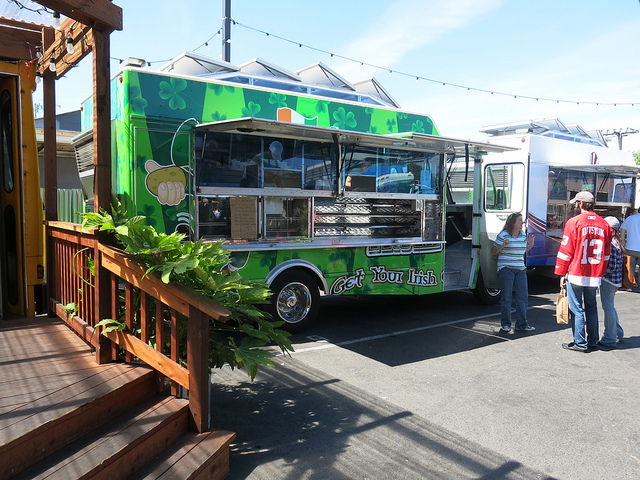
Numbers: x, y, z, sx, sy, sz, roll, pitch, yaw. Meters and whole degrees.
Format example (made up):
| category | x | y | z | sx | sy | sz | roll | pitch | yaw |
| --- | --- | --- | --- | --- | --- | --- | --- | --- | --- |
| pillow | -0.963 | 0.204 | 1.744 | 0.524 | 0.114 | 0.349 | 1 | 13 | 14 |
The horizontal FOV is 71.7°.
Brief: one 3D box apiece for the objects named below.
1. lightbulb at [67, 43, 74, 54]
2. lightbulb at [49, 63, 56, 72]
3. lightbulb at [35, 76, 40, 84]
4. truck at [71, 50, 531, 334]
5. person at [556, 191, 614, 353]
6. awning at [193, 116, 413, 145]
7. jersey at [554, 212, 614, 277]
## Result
| category | x | y | z | sx | sy | sz | roll | pitch | yaw |
| --- | --- | --- | --- | --- | --- | --- | --- | --- | --- |
| lightbulb | -2.517 | -1.952 | 4.473 | 0.056 | 0.098 | 0.072 | -3 | 7 | -10 |
| lightbulb | -3.123 | -2.042 | 5.162 | 0.055 | 0.084 | 0.077 | -2 | 19 | -24 |
| lightbulb | -3.589 | -2.058 | 5.609 | 0.026 | 0.076 | 0.178 | -4 | 7 | -43 |
| truck | 0.427 | -0.533 | 7.628 | 7.241 | 3.934 | 2.511 | -2 | 6 | -26 |
| person | 3.766 | 0.444 | 6.341 | 0.632 | 2.280 | 0.586 | 4 | 6 | 33 |
| awning | -0.265 | -1.573 | 6.540 | 3.030 | 0.167 | 1.062 | -2 | 6 | -33 |
| jersey | 3.676 | 0.061 | 6.174 | 0.643 | 0.896 | 0.222 | 1 | 5 | 1 |
